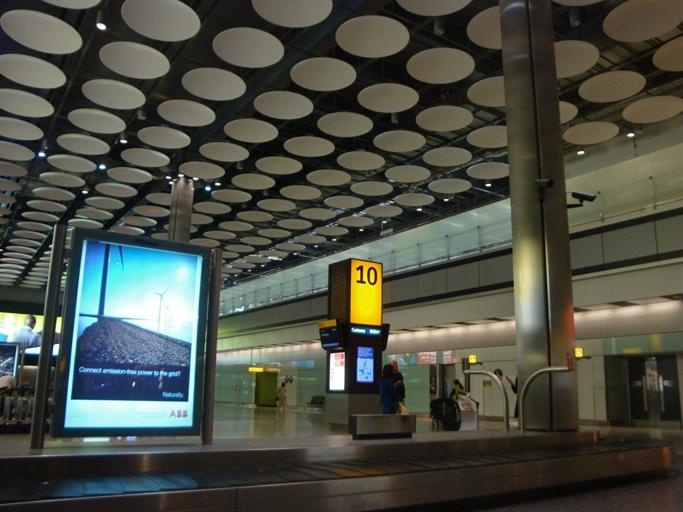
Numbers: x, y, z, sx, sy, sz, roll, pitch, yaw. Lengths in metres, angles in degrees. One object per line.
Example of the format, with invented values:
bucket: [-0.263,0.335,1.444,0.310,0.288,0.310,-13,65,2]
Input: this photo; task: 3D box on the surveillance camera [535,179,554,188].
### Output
surveillance camera: [3.469,-1.253,9.675,0.331,0.131,0.210,-2,-13,3]

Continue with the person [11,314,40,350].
person: [-6.310,1.478,11.347,0.480,0.705,1.123,7,-15,-29]

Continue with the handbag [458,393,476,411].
handbag: [3.276,3.803,14.913,0.341,0.429,0.642,-3,-13,6]
